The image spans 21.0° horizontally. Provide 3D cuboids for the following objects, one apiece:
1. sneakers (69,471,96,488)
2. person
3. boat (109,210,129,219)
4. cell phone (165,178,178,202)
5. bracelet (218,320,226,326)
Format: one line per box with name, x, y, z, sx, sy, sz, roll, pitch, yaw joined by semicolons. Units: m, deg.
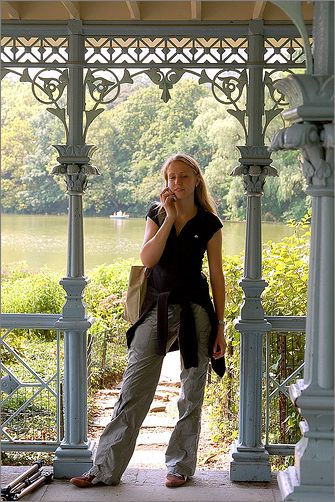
sneakers;-0.419;1.156;4.551;0.155;0.060;0.054;15;-9;-22
person;-0.055;0.355;4.584;0.727;1.693;0.298;-1;6;-13
boat;-1.314;-0.993;23.840;0.408;0.162;0.233;3;9;35
cell phone;0.021;-0.311;4.559;0.028;0.107;0.057;-18;0;7
bracelet;0.282;0.369;4.644;0.036;0.021;0.036;0;-7;3
